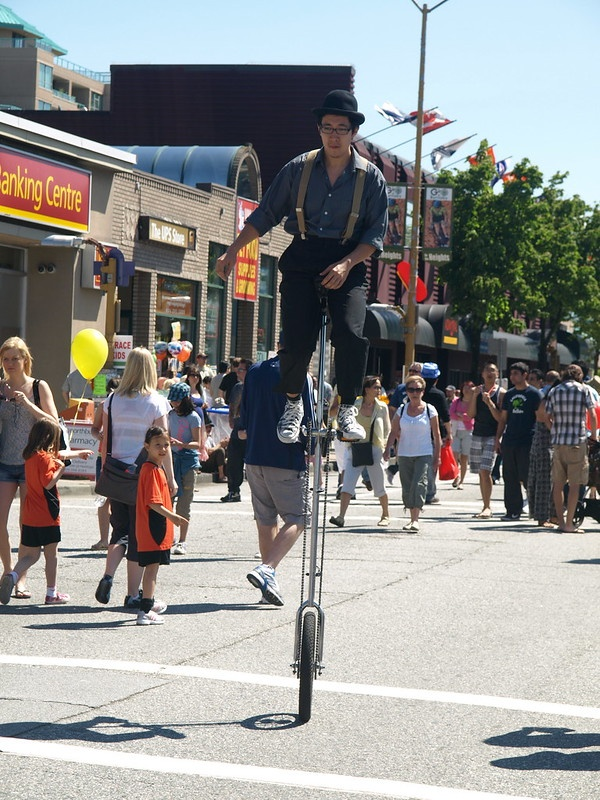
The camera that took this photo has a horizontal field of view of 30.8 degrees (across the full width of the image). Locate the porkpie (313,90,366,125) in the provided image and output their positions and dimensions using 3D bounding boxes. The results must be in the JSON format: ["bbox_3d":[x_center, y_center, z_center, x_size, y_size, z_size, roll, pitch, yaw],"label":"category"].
[{"bbox_3d":[0.171,-1.295,4.764,0.211,0.160,0.344,4,0,1],"label":"porkpie"}]

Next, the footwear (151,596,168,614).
[{"bbox_3d":[-0.954,1.370,7.281,0.058,0.074,0.169,-8,-7,1],"label":"footwear"}]

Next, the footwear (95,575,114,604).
[{"bbox_3d":[-1.327,1.323,7.400,0.107,0.254,0.114,7,12,4],"label":"footwear"}]

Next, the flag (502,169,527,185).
[{"bbox_3d":[7.819,-8.128,40.010,0.609,0.440,1.203,4,0,-10],"label":"flag"}]

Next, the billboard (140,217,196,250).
[{"bbox_3d":[-3.061,-3.802,24.906,0.212,0.749,2.615,4,0,18],"label":"billboard"}]

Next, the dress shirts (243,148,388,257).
[{"bbox_3d":[0.091,-0.903,4.943,0.613,0.463,0.301,9,2,-1],"label":"dress shirts"}]

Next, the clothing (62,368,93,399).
[{"bbox_3d":[-3.683,-0.264,18.021,0.528,0.636,0.338,0,7,9],"label":"clothing"}]

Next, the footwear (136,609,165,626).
[{"bbox_3d":[-0.969,1.380,6.987,0.164,0.104,0.080,1,2,-11],"label":"footwear"}]

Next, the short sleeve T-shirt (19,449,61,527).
[{"bbox_3d":[-1.805,0.603,7.577,0.256,0.522,0.303,4,-1,-14],"label":"short sleeve T-shirt"}]

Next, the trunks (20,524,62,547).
[{"bbox_3d":[-1.785,0.919,7.433,0.267,0.195,0.150,2,5,1],"label":"trunks"}]

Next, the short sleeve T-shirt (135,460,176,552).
[{"bbox_3d":[-0.951,0.692,7.131,0.249,0.587,0.265,4,-1,-21],"label":"short sleeve T-shirt"}]

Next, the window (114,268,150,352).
[{"bbox_3d":[-3.803,-2.070,24.976,0.670,1.709,1.538,4,-1,-18],"label":"window"}]
